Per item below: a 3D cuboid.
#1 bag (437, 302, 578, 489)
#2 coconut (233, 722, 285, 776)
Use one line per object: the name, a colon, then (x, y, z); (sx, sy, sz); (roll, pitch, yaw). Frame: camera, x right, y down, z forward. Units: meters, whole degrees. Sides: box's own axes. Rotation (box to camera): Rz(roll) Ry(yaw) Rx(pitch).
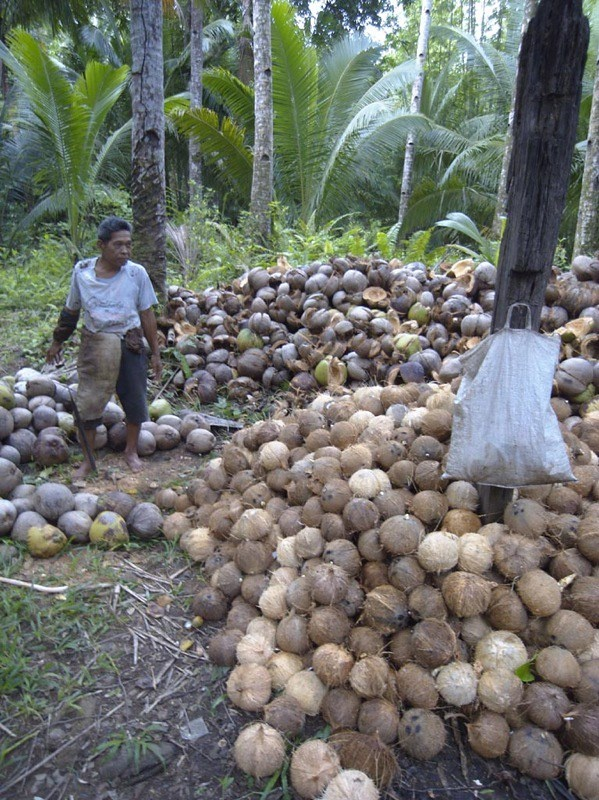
bag: (1.076, 0.052, 3.054); (0.613, 0.776, 0.275); (7, 19, 14)
coconut: (-0.182, 1.539, 2.764); (0.210, 0.274, 0.202); (5, 27, -15)
